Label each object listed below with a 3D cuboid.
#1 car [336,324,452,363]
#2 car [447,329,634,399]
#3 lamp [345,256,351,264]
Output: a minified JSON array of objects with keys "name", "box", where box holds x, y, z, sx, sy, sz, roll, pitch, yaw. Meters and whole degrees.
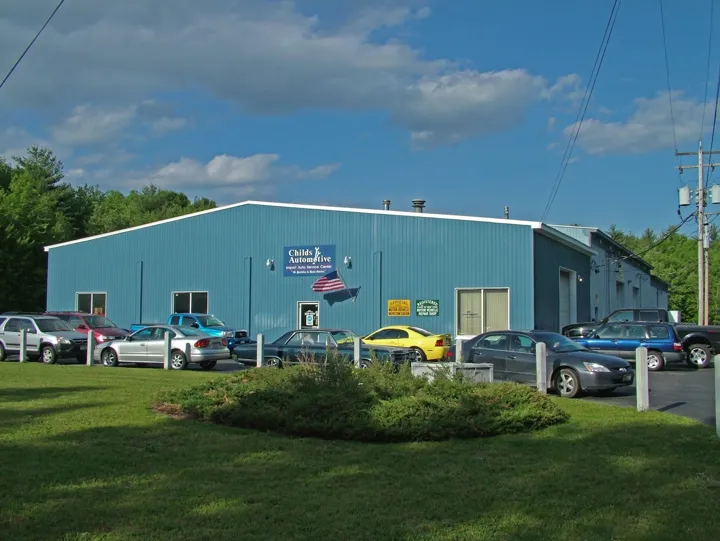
[{"name":"car","box":[1.335,2.451,26.242,3.069,0.969,1.436,2,-2,22]},{"name":"car","box":[4.226,2.426,19.556,4.606,1.441,1.824,-4,-5,40]},{"name":"lamp","box":[-0.514,-0.374,32.664,0.206,0.304,0.112,-1,-5,22]}]
